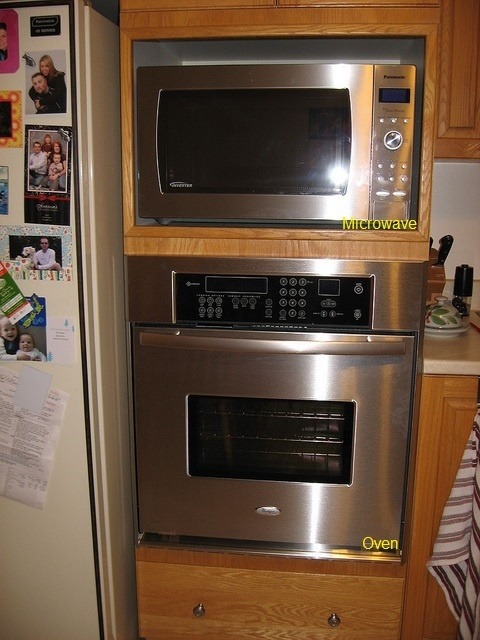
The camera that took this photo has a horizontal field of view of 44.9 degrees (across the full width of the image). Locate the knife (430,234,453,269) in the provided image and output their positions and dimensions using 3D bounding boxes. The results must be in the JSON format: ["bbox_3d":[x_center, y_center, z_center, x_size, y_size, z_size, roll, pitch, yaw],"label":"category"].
[{"bbox_3d":[0.644,-0.223,1.841,0.047,0.110,0.244,5,5,19],"label":"knife"}]

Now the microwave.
[{"bbox_3d":[0.088,-0.494,1.425,0.614,0.384,0.358,-2,41,0],"label":"microwave"}]

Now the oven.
[{"bbox_3d":[0.099,0.165,1.628,0.725,0.788,0.536,3,16,9],"label":"oven"}]

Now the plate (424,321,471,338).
[{"bbox_3d":[0.573,0.030,1.590,0.129,0.041,0.045,3,4,-10],"label":"plate"}]
